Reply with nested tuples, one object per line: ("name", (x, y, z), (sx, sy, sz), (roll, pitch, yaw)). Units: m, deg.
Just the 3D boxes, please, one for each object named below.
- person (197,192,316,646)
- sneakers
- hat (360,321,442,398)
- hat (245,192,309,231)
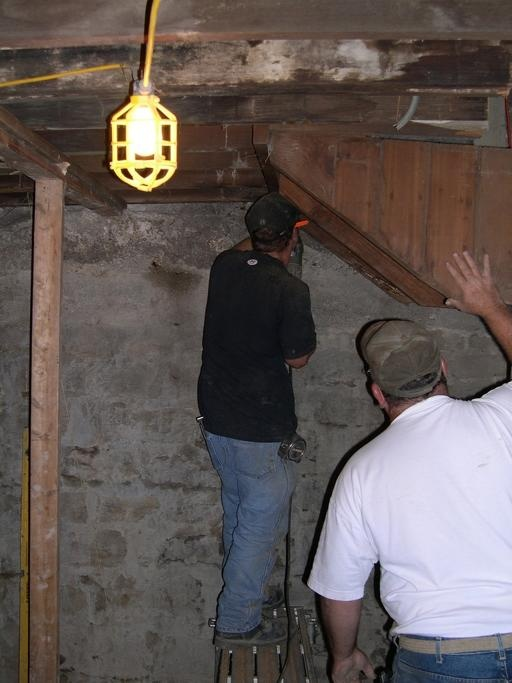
("person", (-0.022, 0.301, 3.182), (0.494, 1.802, 0.344), (14, 8, 44))
("sneakers", (0.028, 1.189, 3.289), (0.423, 0.146, 0.118), (-12, 28, -23))
("hat", (0.449, 0.052, 2.379), (0.204, 0.133, 0.253), (-21, 45, 4))
("hat", (0.071, -0.505, 3.127), (0.236, 0.101, 0.140), (-23, 25, -15))
